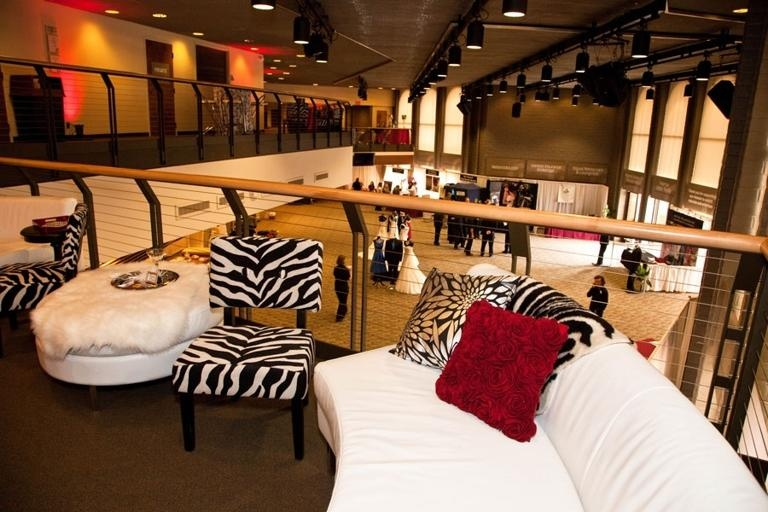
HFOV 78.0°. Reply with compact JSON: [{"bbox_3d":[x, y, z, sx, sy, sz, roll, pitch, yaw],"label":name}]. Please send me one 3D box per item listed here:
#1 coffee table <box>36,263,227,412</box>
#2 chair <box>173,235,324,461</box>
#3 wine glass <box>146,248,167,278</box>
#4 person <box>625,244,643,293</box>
[{"bbox_3d":[-1.591,0.536,3.028,0.886,0.389,0.875,-6,22,-23],"label":"coffee table"},{"bbox_3d":[-0.781,0.482,2.872,0.769,0.947,0.901,2,19,-2],"label":"chair"},{"bbox_3d":[-1.584,0.049,3.311,0.111,0.103,0.198,6,-19,-22],"label":"wine glass"},{"bbox_3d":[5.104,0.265,9.662,0.324,0.287,1.278,18,-5,30],"label":"person"}]
